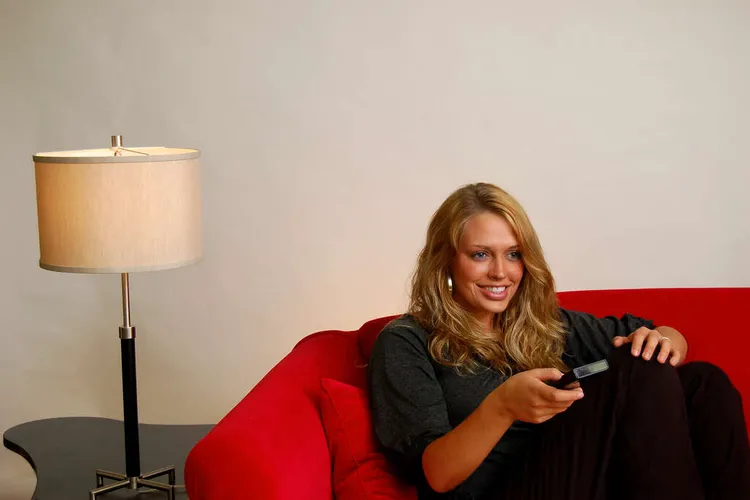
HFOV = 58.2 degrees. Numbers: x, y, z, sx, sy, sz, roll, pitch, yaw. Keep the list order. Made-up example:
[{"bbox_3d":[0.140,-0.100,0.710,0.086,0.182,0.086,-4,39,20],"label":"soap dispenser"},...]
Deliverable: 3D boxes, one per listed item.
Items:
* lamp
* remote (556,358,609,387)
[{"bbox_3d":[-0.921,0.222,2.438,0.569,1.277,0.404,0,5,-14],"label":"lamp"},{"bbox_3d":[0.601,0.373,1.982,0.105,0.024,0.100,-7,-21,-43],"label":"remote"}]
